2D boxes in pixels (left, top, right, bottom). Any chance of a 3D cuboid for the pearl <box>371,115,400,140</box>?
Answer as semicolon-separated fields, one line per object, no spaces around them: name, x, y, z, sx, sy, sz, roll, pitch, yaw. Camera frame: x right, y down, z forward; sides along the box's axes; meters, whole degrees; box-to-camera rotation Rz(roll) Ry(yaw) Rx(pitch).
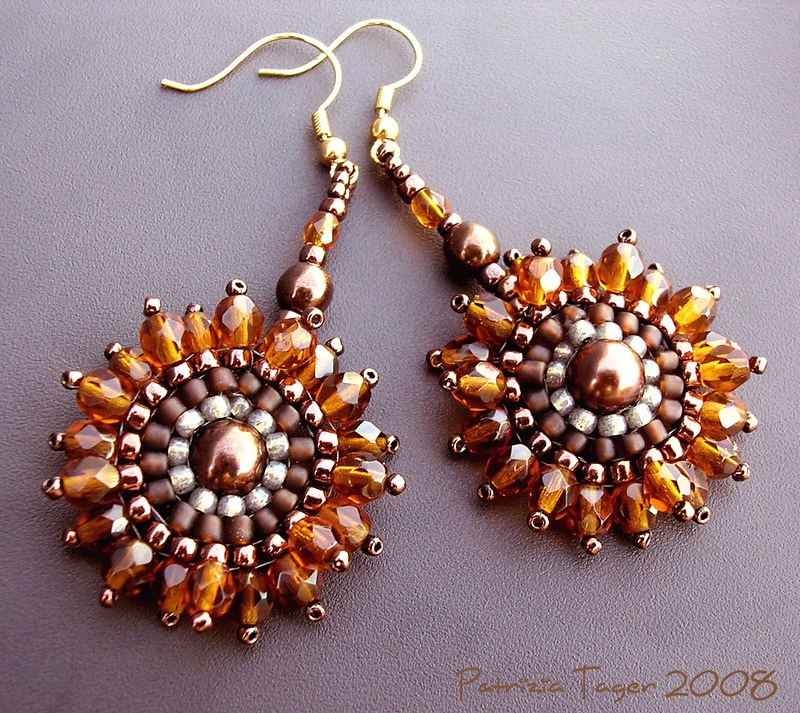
pearl;-0.028;-0.480;2.009;0.060;0.057;0.031;-11;-4;-10

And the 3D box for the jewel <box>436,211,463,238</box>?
jewel;0.093;-0.261;1.911;0.019;0.050;0.051;45;61;12

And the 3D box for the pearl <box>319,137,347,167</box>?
pearl;-0.139;-0.425;1.982;0.054;0.045;0.065;27;-16;-5

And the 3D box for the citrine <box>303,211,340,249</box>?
citrine;-0.151;-0.247;1.881;0.070;0.074;0.047;3;51;-3

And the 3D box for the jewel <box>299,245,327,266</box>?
jewel;-0.167;-0.198;1.853;0.054;0.034;0.047;14;-6;5

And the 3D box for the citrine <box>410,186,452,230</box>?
citrine;0.062;-0.296;1.963;0.074;0.092;0.058;45;61;-1
